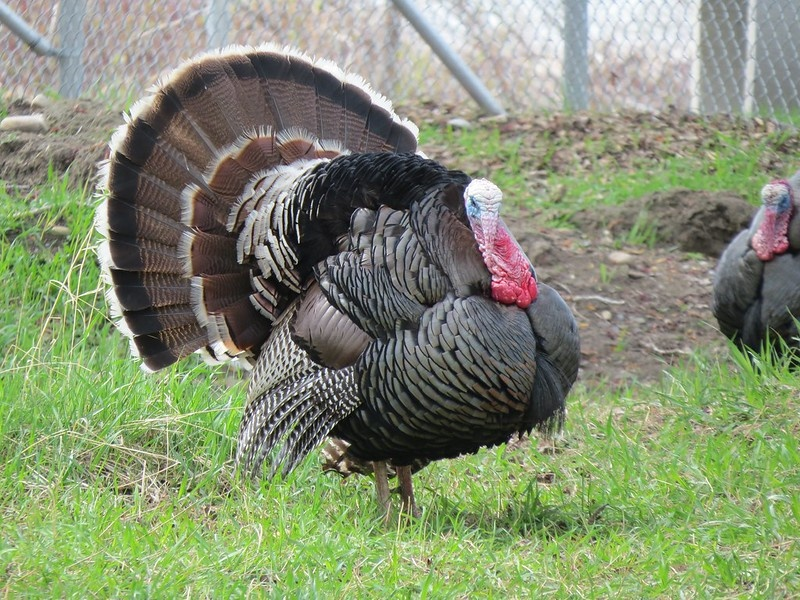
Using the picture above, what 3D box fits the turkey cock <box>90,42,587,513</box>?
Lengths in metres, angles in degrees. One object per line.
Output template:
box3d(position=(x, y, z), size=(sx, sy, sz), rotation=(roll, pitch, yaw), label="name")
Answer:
box3d(position=(-0.332, -0.025, 4.724), size=(2.113, 1.935, 1.860), rotation=(16, 20, 36), label="turkey cock")
